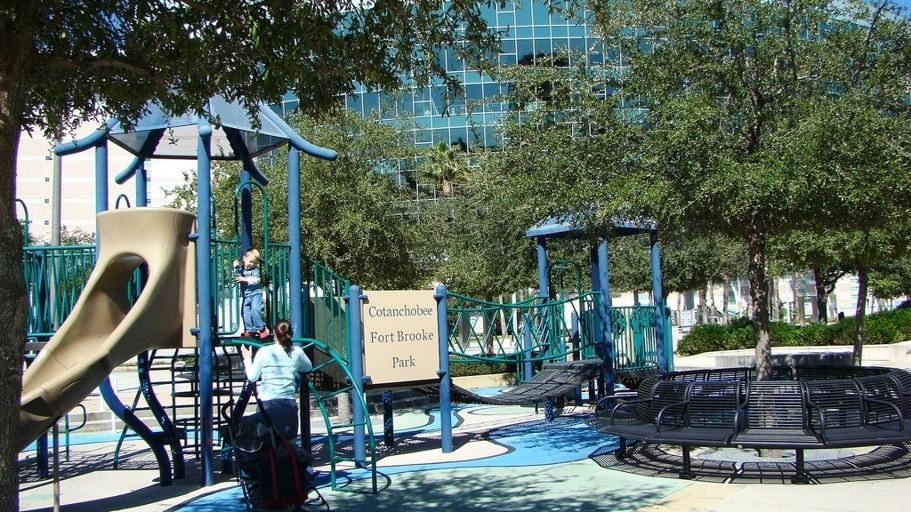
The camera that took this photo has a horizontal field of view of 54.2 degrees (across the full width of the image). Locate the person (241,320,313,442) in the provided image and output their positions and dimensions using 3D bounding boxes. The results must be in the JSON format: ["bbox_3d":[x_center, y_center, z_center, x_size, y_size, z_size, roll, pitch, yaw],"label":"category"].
[{"bbox_3d":[-3.084,2.155,15.447,1.076,2.067,0.792,-4,-5,-16],"label":"person"}]
